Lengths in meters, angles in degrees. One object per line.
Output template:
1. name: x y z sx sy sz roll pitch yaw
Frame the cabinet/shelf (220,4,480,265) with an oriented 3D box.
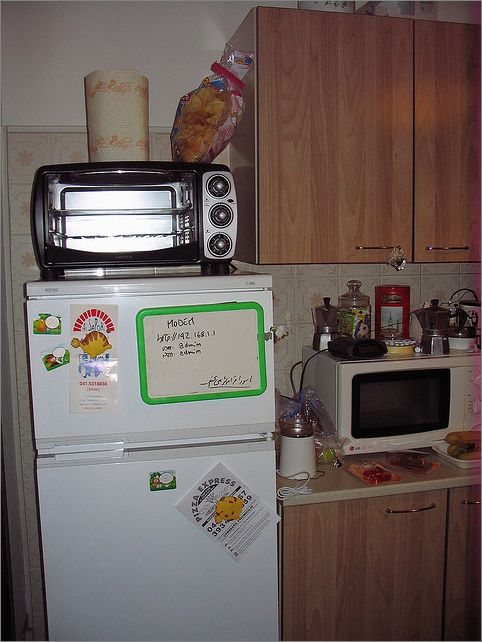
1. cabinet/shelf: 0.298 -0.503 1.489 0.652 0.632 0.361 -1 8 -10

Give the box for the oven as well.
1. oven: -0.255 -0.228 1.233 0.389 0.253 0.277 0 0 -10

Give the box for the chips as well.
1. chips: -0.062 -0.547 1.383 0.226 0.328 0.241 -6 5 -15

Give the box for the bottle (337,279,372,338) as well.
1. bottle: 0.358 -0.033 1.749 0.103 0.176 0.365 -3 6 12

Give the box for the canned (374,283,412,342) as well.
1. canned: 0.503 -0.029 1.815 0.109 0.187 0.108 4 15 24

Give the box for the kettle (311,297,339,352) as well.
1. kettle: 0.265 0.011 1.721 0.082 0.165 0.190 -3 6 10
